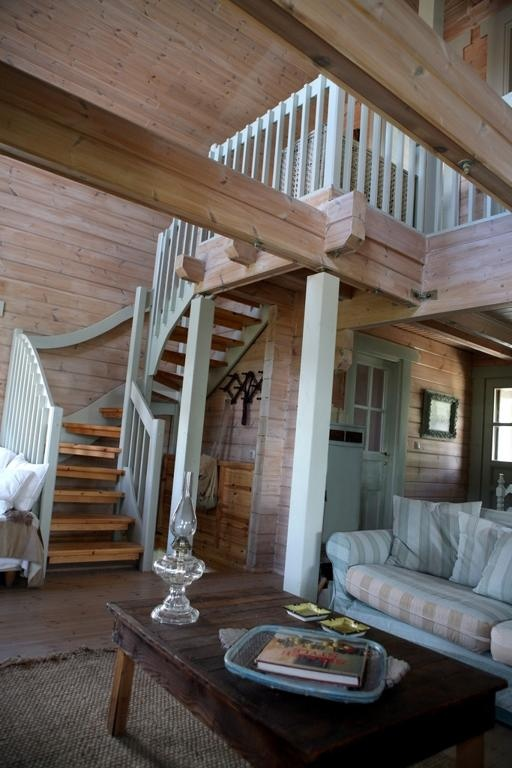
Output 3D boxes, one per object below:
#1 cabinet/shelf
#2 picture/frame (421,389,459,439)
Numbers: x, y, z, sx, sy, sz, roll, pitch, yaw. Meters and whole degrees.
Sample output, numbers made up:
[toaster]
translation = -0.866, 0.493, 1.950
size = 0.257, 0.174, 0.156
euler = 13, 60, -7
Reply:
[cabinet/shelf]
translation = -0.493, 1.378, 5.785
size = 0.409, 1.024, 1.094
euler = 10, -12, -24
[picture/frame]
translation = 2.125, 0.367, 6.340
size = 0.718, 0.579, 0.087
euler = 10, -8, -43
